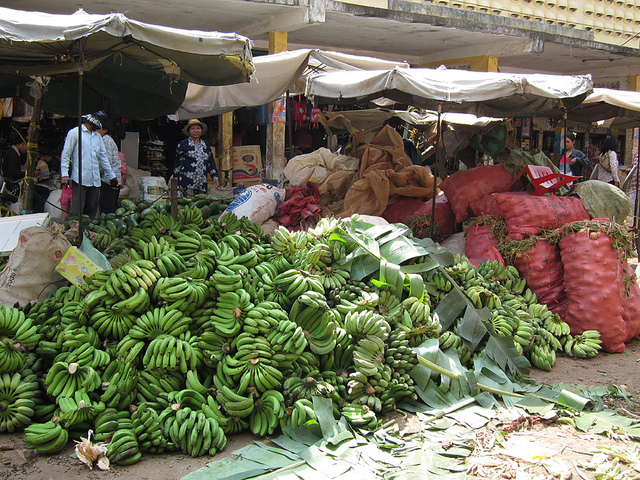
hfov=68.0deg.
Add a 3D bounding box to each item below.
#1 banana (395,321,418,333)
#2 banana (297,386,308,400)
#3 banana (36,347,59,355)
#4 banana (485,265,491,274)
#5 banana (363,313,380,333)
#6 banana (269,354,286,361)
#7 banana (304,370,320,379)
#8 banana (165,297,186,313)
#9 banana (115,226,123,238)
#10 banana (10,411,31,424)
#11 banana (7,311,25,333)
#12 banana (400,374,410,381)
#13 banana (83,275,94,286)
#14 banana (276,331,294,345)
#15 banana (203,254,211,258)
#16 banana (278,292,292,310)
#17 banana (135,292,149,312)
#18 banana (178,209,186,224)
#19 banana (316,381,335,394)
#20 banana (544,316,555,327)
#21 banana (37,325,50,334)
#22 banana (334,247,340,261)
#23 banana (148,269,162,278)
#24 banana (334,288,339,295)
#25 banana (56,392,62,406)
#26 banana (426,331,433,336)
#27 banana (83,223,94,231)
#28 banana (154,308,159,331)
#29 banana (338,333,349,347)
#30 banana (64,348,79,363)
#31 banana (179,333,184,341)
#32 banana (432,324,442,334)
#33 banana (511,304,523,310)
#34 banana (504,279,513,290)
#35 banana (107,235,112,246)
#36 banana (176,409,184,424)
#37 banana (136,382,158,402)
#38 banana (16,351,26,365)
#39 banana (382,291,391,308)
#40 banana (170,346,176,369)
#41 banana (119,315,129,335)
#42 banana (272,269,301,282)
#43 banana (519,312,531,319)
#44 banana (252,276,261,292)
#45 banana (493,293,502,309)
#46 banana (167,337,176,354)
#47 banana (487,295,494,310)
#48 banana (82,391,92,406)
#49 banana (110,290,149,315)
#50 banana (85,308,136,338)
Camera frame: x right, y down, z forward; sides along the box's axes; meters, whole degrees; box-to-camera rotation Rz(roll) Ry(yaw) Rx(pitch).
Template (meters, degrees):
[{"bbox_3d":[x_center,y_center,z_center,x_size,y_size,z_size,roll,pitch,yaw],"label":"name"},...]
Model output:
[{"bbox_3d":[0.769,0.775,4.227,0.217,0.085,0.074,1,-2,-34],"label":"banana"},{"bbox_3d":[-0.135,1.194,3.740,0.029,0.112,0.040,38,-23,-8],"label":"banana"},{"bbox_3d":[-2.142,0.864,3.721,0.191,0.059,0.057,0,-1,21],"label":"banana"},{"bbox_3d":[1.884,0.321,5.311,0.047,0.082,0.023,3,-14,-3],"label":"banana"},{"bbox_3d":[0.424,0.680,3.980,0.060,0.226,0.077,42,-12,1],"label":"banana"},{"bbox_3d":[-0.319,0.912,3.700,0.157,0.042,0.051,0,-46,-17],"label":"banana"},{"bbox_3d":[-0.061,1.079,3.828,0.123,0.064,0.105,0,-1,-3],"label":"banana"},{"bbox_3d":[-1.148,0.501,3.744,0.113,0.034,0.072,-36,32,-4],"label":"banana"},{"bbox_3d":[-1.894,-0.083,4.477,0.063,0.110,0.094,1,-2,-41],"label":"banana"},{"bbox_3d":[-2.212,1.304,3.500,0.124,0.028,0.033,36,-25,-3],"label":"banana"},{"bbox_3d":[-2.367,0.623,3.704,0.103,0.127,0.043,7,-20,-6],"label":"banana"},{"bbox_3d":[0.730,1.166,4.034,0.083,0.058,0.032,0,-1,-8],"label":"banana"},{"bbox_3d":[-1.869,0.323,3.829,0.154,0.047,0.045,29,-23,51],"label":"banana"},{"bbox_3d":[-0.276,0.758,3.701,0.167,0.046,0.055,-41,12,-17],"label":"banana"},{"bbox_3d":[-0.968,0.130,4.099,0.057,0.022,0.018,1,-1,-26],"label":"banana"},{"bbox_3d":[-0.301,0.516,4.046,0.121,0.144,0.060,1,-1,-27],"label":"banana"},{"bbox_3d":[-1.389,0.484,3.736,0.045,0.131,0.114,18,-6,4],"label":"banana"},{"bbox_3d":[-1.306,-0.227,4.508,0.062,0.133,0.039,0,-1,18],"label":"banana"},{"bbox_3d":[0.046,1.177,3.799,0.147,0.089,0.077,0,-1,2],"label":"banana"},{"bbox_3d":[2.507,0.879,5.207,0.203,0.058,0.041,-28,-5,-35],"label":"banana"},{"bbox_3d":[-2.200,0.708,3.779,0.104,0.033,0.033,-29,4,-14],"label":"banana"},{"bbox_3d":[0.163,0.127,4.458,0.048,0.124,0.051,0,-1,1],"label":"banana"},{"bbox_3d":[-1.316,0.263,3.810,0.042,0.124,0.033,-19,-33,-39],"label":"banana"},{"bbox_3d":[0.154,0.451,4.222,0.050,0.055,0.015,1,-1,-32],"label":"banana"},{"bbox_3d":[-1.936,1.168,3.523,0.039,0.107,0.026,16,0,-37],"label":"banana"},{"bbox_3d":[1.009,0.854,4.336,0.046,0.037,0.015,5,7,-38],"label":"banana"},{"bbox_3d":[-2.248,-0.132,4.612,0.076,0.022,0.059,-25,-14,26],"label":"banana"},{"bbox_3d":[-1.279,0.609,3.687,0.034,0.162,0.044,-25,-28,23],"label":"banana"},{"bbox_3d":[0.198,0.825,3.983,0.025,0.138,0.038,27,-1,20],"label":"banana"},{"bbox_3d":[-1.845,0.865,3.581,0.041,0.161,0.034,31,-23,46],"label":"banana"},{"bbox_3d":[-1.082,0.754,3.720,0.029,0.055,0.018,0,-12,-6],"label":"banana"},{"bbox_3d":[1.084,0.825,4.378,0.067,0.043,0.158,13,22,29],"label":"banana"},{"bbox_3d":[2.129,0.715,5.123,0.172,0.055,0.047,2,-2,-41],"label":"banana"},{"bbox_3d":[2.156,0.503,5.400,0.046,0.045,0.155,-31,13,42],"label":"banana"},{"bbox_3d":[-1.943,0.002,4.403,0.026,0.096,0.033,26,-33,-28],"label":"banana"},{"bbox_3d":[-1.029,1.294,3.482,0.024,0.072,0.072,6,-23,-32],"label":"banana"},{"bbox_3d":[-1.310,1.156,3.619,0.043,0.167,0.058,-49,-9,19],"label":"banana"},{"bbox_3d":[-2.284,0.906,3.652,0.024,0.085,0.068,-28,11,2],"label":"banana"},{"bbox_3d":[0.613,0.528,4.309,0.036,0.181,0.045,11,-28,29],"label":"banana"},{"bbox_3d":[-1.109,0.889,3.589,0.039,0.142,0.041,0,-18,-3],"label":"banana"},{"bbox_3d":[-1.532,0.657,3.717,0.028,0.162,0.019,-15,6,6],"label":"banana"},{"bbox_3d":[-0.271,0.287,4.095,0.295,0.096,0.080,-8,-22,-2],"label":"banana"},{"bbox_3d":[2.193,0.799,5.053,0.204,0.073,0.032,2,-2,-38],"label":"banana"},{"bbox_3d":[-0.528,0.357,4.004,0.060,0.101,0.034,5,3,-28],"label":"banana"},{"bbox_3d":[1.836,0.628,4.948,0.048,0.149,0.095,6,34,46],"label":"banana"},{"bbox_3d":[-1.126,0.801,3.622,0.032,0.113,0.034,26,-32,-14],"label":"banana"},{"bbox_3d":[1.756,0.635,4.881,0.051,0.163,0.059,8,-9,-4],"label":"banana"},{"bbox_3d":[-1.698,1.157,3.453,0.036,0.127,0.038,-39,-27,3],"label":"banana"},{"bbox_3d":[-1.472,0.499,3.756,0.294,0.149,0.101,-26,-41,-6],"label":"banana"},{"bbox_3d":[-1.657,0.605,3.726,0.299,0.127,0.241,28,9,26],"label":"banana"}]
